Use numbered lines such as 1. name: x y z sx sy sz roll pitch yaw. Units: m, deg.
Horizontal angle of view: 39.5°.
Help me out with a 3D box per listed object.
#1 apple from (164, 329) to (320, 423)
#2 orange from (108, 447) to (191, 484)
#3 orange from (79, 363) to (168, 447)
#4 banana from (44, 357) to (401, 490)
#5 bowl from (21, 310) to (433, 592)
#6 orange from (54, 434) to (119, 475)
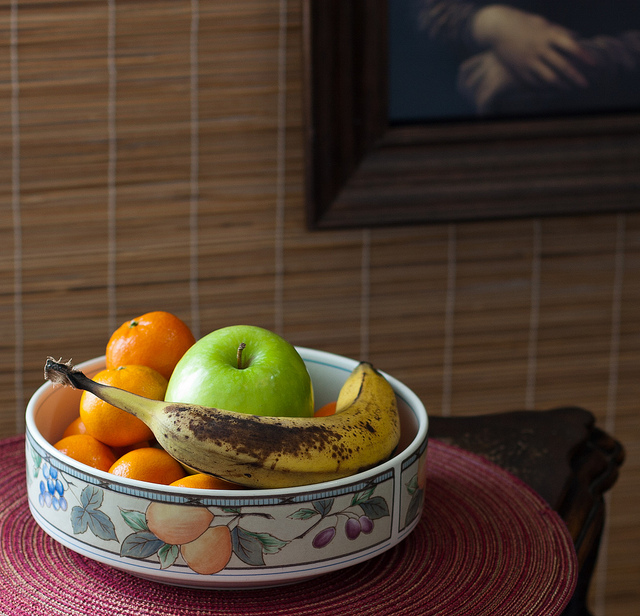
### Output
1. apple: -0.074 0.045 0.881 0.112 0.096 0.105 4 12 9
2. orange: -0.169 0.156 0.876 0.052 0.029 0.039 9 1 -14
3. orange: -0.203 0.103 0.957 0.090 0.079 0.087 -11 -9 -23
4. banana: -0.083 0.116 0.850 0.271 0.058 0.158 15 15 -13
5. bowl: -0.081 0.128 0.971 0.404 0.179 0.400 0 24 0
6. orange: -0.237 0.145 0.899 0.047 0.053 0.046 3 -16 -21
